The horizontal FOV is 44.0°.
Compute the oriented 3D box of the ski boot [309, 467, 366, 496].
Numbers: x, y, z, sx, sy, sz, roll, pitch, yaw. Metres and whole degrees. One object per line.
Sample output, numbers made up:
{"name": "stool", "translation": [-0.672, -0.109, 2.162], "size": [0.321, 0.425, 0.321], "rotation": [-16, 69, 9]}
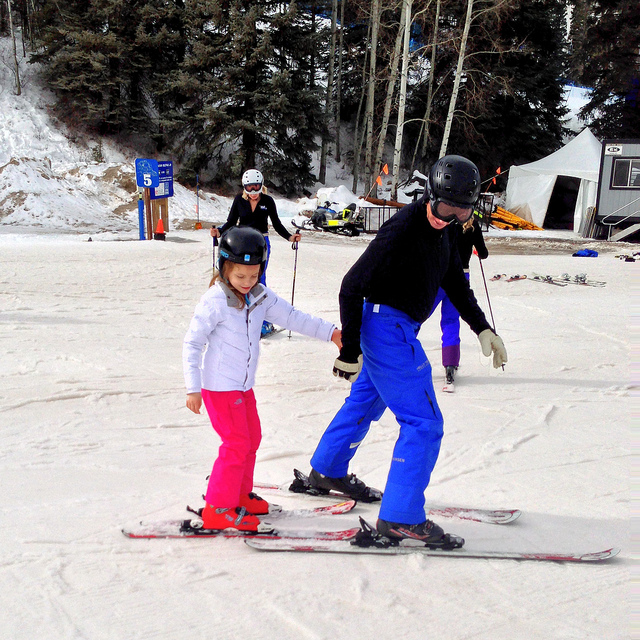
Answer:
{"name": "ski boot", "translation": [0.115, 0.959, 4.750], "size": [0.395, 0.138, 0.126], "rotation": [4, 6, 8]}

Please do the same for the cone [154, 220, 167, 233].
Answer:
{"name": "cone", "translation": [-3.392, -1.968, 16.709], "size": [0.195, 0.249, 0.397], "rotation": [-2, 14, -11]}

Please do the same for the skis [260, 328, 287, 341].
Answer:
{"name": "skis", "translation": [-0.493, 0.152, 8.261], "size": [0.027, 0.049, 0.542], "rotation": [31, 31, 32]}

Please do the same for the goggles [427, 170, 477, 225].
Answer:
{"name": "goggles", "translation": [0.624, -0.616, 4.009], "size": [0.214, 0.099, 0.267], "rotation": [18, 18, -29]}

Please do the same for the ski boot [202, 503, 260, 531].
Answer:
{"name": "ski boot", "translation": [-0.473, 1.040, 4.255], "size": [0.363, 0.127, 0.120], "rotation": [0, 8, -10]}

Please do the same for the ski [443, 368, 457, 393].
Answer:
{"name": "ski", "translation": [1.115, 0.520, 6.807], "size": [0.145, 0.159, 0.401], "rotation": [1, 13, 10]}

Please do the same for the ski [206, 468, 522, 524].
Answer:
{"name": "ski", "translation": [0.236, 0.999, 4.480], "size": [2.131, 0.084, 0.215], "rotation": [5, 17, 7]}

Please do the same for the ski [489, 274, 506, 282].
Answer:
{"name": "ski", "translation": [2.916, -0.693, 12.828], "size": [0.555, 0.089, 0.130], "rotation": [0, -22, -47]}

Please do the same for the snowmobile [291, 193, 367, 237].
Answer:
{"name": "snowmobile", "translation": [0.204, -2.707, 20.602], "size": [2.208, 0.853, 0.889], "rotation": [18, 18, 35]}

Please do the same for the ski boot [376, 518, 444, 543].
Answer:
{"name": "ski boot", "translation": [0.469, 1.084, 4.164], "size": [0.395, 0.150, 0.118], "rotation": [-1, 4, 0]}

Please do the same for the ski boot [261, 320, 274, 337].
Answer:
{"name": "ski boot", "translation": [-0.488, 0.079, 7.310], "size": [0.054, 0.136, 0.087], "rotation": [31, 9, -22]}

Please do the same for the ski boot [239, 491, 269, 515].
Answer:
{"name": "ski boot", "translation": [-0.352, 1.021, 4.467], "size": [0.206, 0.076, 0.080], "rotation": [21, 18, -10]}

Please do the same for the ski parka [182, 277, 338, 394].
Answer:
{"name": "ski parka", "translation": [-0.398, 0.064, 4.288], "size": [0.811, 0.602, 0.290], "rotation": [-7, 18, -31]}

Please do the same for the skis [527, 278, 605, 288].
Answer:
{"name": "skis", "translation": [3.837, -0.573, 12.162], "size": [0.972, 0.053, 0.257], "rotation": [9, 24, 39]}

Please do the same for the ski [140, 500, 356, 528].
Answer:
{"name": "ski", "translation": [-0.430, 1.062, 4.367], "size": [1.587, 0.100, 0.161], "rotation": [1, 12, -17]}
